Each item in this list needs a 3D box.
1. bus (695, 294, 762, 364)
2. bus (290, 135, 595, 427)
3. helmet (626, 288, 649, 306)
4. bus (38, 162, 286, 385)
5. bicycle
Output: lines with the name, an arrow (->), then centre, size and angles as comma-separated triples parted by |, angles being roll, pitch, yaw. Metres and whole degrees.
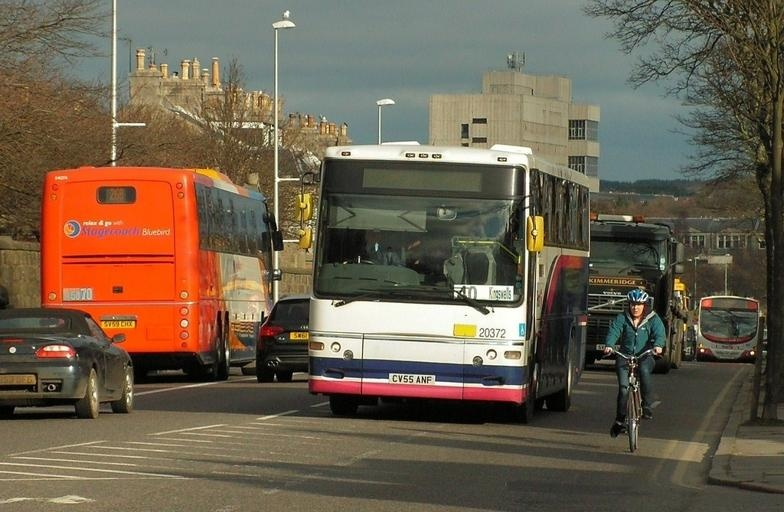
bus -> 17.749, 4.047, 73.475 | 3.122, 3.565, 2.934 | 0, 1, 14
bus -> 1.051, 0.530, 26.372 | 5.669, 5.419, 3.924 | -1, 1, -10
helmet -> 4.270, 0.735, 23.933 | 0.307, 0.185, 0.468 | 3, 7, 13
bus -> -5.113, 0.535, 37.322 | 3.978, 5.622, 11.153 | 0, 2, 23
bicycle -> 4.152, 2.553, 23.904 | 0.704, 1.787, 0.595 | -1, 2, -35
